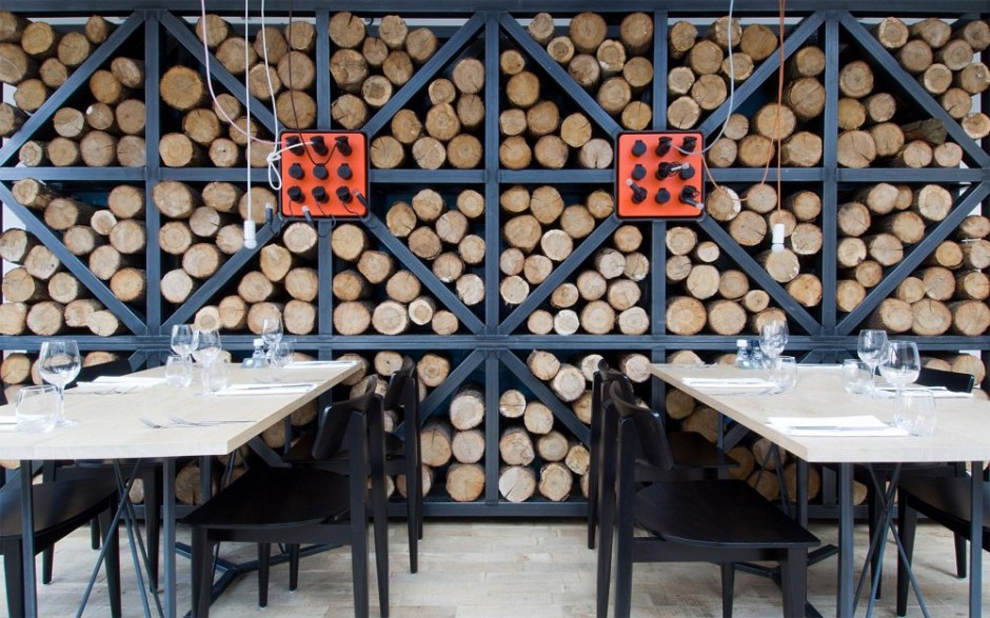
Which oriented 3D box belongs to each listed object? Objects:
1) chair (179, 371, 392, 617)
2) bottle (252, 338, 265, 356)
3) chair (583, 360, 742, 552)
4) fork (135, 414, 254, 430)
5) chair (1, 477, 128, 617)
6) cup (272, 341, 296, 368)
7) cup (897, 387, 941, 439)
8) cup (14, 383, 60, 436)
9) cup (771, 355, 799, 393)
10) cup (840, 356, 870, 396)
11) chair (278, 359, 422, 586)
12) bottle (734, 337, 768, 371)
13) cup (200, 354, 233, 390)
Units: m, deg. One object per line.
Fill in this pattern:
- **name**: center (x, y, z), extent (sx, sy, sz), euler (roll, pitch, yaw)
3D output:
- **chair**: center (-1.257, 1.189, 6.968), extent (1.171, 1.839, 1.354), euler (2, 3, -4)
- **bottle**: center (-1.573, 0.256, 7.150), extent (0.093, 0.118, 0.093), euler (0, 0, 0)
- **chair**: center (1.035, 0.936, 7.006), extent (0.899, 1.507, 1.154), euler (-1, 6, -4)
- **fork**: center (-1.705, 0.643, 6.068), extent (0.388, 0.053, 0.046), euler (-1, 36, -1)
- **chair**: center (-2.590, 1.225, 6.349), extent (0.596, 0.503, 0.929), euler (1, 4, -11)
- **cup**: center (-1.408, 0.300, 7.067), extent (0.130, 0.163, 0.138), euler (1, 2, 0)
- **cup**: center (2.342, 0.581, 5.984), extent (0.204, 0.243, 0.220), euler (-2, 2, 0)
- **cup**: center (-2.607, 0.567, 6.088), extent (0.239, 0.279, 0.251), euler (0, -3, 0)
- **cup**: center (1.740, 0.388, 6.447), extent (0.158, 0.286, 0.178), euler (-2, 2, -11)
- **cup**: center (2.265, 0.416, 6.616), extent (0.186, 0.292, 0.193), euler (-7, 1, 0)
- **chair**: center (-1.018, 0.982, 7.419), extent (1.047, 2.053, 1.204), euler (0, 3, 3)
- **bottle**: center (1.683, 0.302, 7.109), extent (0.232, 0.260, 0.130), euler (-3, 5, 0)
- **cup**: center (-1.688, 0.379, 6.553), extent (0.185, 0.243, 0.204), euler (-1, 1, 5)
